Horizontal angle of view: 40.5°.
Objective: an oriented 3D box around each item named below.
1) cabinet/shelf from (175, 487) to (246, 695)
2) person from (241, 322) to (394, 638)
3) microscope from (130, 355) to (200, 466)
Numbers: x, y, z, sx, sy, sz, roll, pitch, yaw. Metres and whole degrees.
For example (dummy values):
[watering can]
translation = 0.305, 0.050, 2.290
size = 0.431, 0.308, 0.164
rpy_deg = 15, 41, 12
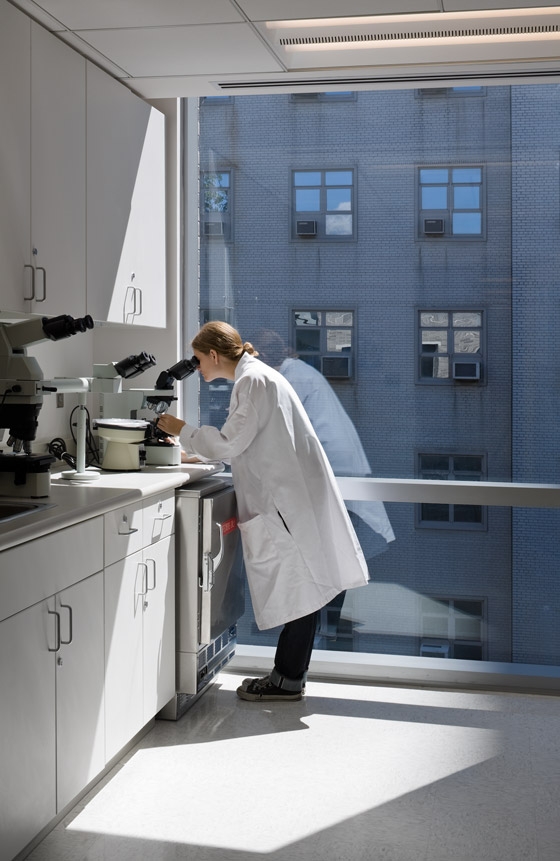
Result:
[cabinet/shelf]
translation = -0.255, 0.557, 2.803
size = 0.135, 0.750, 0.488
rpy_deg = 1, -1, 11
[person]
translation = -0.028, 0.295, 2.859
size = 0.753, 1.372, 0.463
rpy_deg = -2, -1, 8
[microscope]
translation = -0.423, -0.070, 2.818
size = 0.219, 0.383, 0.156
rpy_deg = 3, 2, 3
